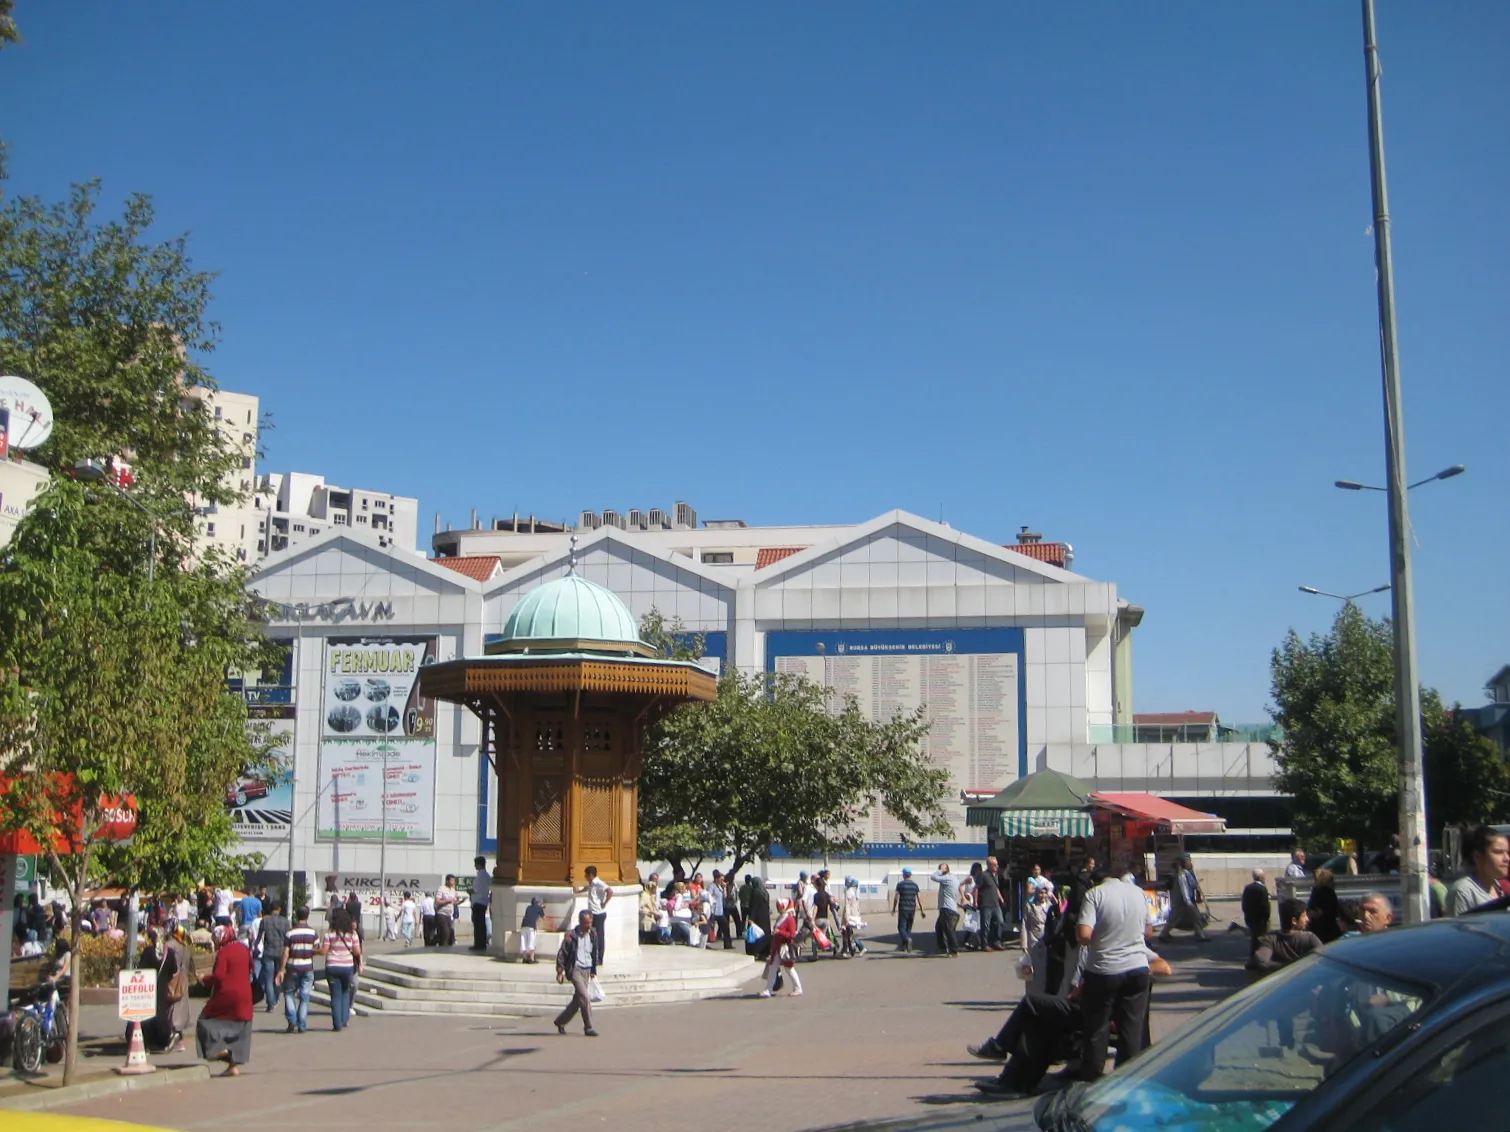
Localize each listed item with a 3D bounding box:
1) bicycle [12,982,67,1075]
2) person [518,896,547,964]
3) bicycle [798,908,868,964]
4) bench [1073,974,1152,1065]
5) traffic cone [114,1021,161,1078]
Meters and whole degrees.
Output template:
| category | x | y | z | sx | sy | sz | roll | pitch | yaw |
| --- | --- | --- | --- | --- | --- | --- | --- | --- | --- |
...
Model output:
| category | x | y | z | sx | sy | sz | roll | pitch | yaw |
| --- | --- | --- | --- | --- | --- | --- | --- | --- | --- |
| bicycle | -11.042 | 7.139 | 31.858 | 0.632 | 1.320 | 1.404 | 1 | -12 | -10 |
| person | -4.254 | 6.852 | 39.209 | 0.419 | 1.307 | 0.938 | 0 | -12 | -6 |
| bicycle | 1.881 | 8.198 | 45.693 | 1.246 | 0.651 | 1.632 | 1 | -6 | -4 |
| bench | 4.629 | 5.844 | 26.122 | 0.720 | 1.737 | 0.562 | 1 | -48 | 15 |
| traffic cone | -9.516 | 7.332 | 31.488 | 0.743 | 0.996 | 0.727 | -8 | -11 | 32 |
